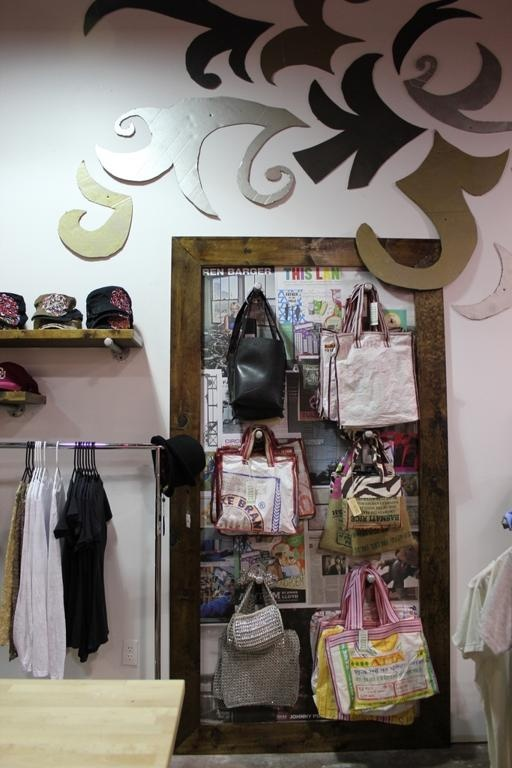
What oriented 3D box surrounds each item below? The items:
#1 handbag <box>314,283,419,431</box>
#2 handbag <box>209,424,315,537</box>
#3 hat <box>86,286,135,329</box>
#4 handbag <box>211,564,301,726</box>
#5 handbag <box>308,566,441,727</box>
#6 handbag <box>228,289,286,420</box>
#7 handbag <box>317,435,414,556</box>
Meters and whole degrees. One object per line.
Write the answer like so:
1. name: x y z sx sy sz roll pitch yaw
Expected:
1. handbag: 0.424 -0.103 2.475 0.381 0.506 0.163 5 2 1
2. handbag: 0.006 0.365 2.418 0.414 0.434 0.234 0 0 0
3. hat: -0.522 -0.265 2.387 0.125 0.133 0.176 5 -26 -23
4. handbag: 0.009 0.931 2.457 0.318 0.484 0.173 0 0 3
5. handbag: 0.403 0.949 2.360 0.465 0.607 0.323 1 -36 -3
6. handbag: -0.002 -0.111 2.381 0.204 0.417 0.265 4 2 -33
7. handbag: 0.383 0.422 2.443 0.397 0.542 0.295 0 -12 1
